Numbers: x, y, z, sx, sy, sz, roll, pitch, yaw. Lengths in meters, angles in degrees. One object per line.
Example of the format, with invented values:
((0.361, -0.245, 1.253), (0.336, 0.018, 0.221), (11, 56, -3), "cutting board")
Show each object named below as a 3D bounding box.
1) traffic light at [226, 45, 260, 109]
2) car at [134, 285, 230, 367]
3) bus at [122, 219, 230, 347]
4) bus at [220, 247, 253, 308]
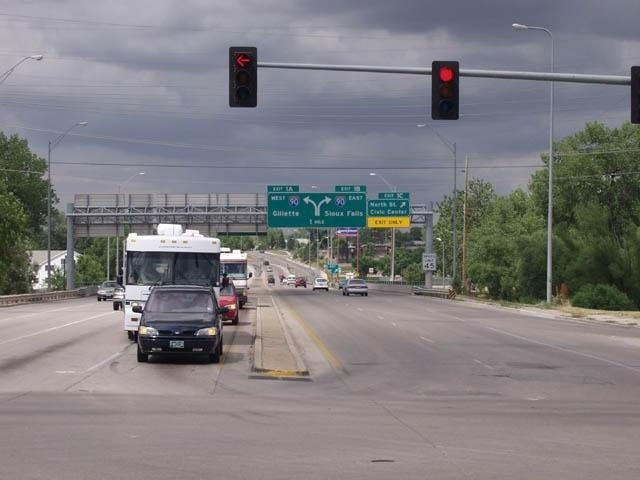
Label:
((-1.905, -4.042, 23.282), (0.724, 1.516, 0.547), (0, 2, 2), "traffic light")
((-3.974, 2.198, 26.566), (2.391, 1.928, 4.845), (1, 2, -5), "car")
((-5.084, 1.460, 32.452), (3.679, 3.874, 6.210), (1, -3, -8), "bus")
((-5.162, 1.666, 53.254), (1.971, 2.871, 5.658), (2, 4, -9), "bus")
